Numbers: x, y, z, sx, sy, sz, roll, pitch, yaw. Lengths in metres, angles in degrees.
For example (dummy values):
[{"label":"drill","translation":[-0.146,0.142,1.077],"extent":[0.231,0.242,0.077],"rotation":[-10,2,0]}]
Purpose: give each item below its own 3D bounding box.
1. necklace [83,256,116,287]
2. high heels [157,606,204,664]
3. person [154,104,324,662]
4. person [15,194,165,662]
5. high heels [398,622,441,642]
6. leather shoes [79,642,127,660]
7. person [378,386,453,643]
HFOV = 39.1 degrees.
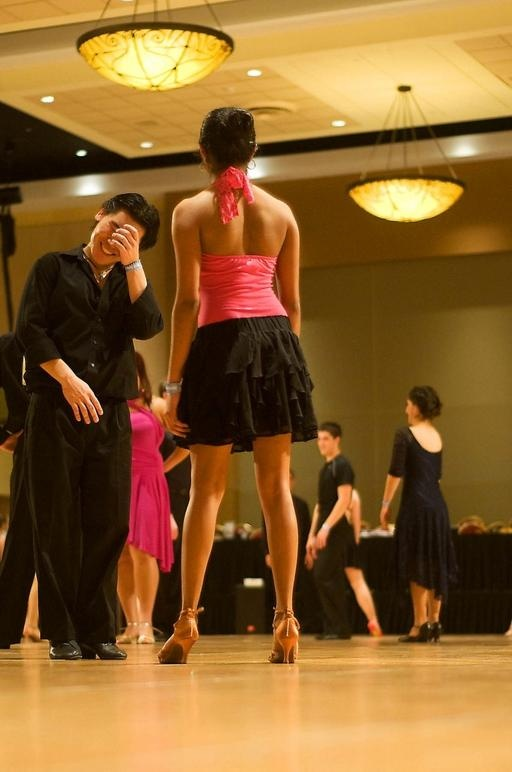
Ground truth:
[{"label":"necklace","translation":[-0.594,-0.418,2.692],"extent":[0.083,0.114,0.059],"rotation":[1,-6,-3]},{"label":"high heels","translation":[-0.239,0.774,2.224],"extent":[0.090,0.131,0.261],"rotation":[1,-25,-17]},{"label":"person","translation":[-0.046,-0.016,2.403],"extent":[0.492,1.934,0.544],"rotation":[1,2,4]},{"label":"person","translation":[-0.585,0.205,2.589],"extent":[0.398,1.474,0.465],"rotation":[2,2,40]},{"label":"high heels","translation":[1.284,1.900,5.576],"extent":[0.145,0.112,0.255],"rotation":[8,-11,-39]},{"label":"leather shoes","translation":[-0.535,0.922,2.537],"extent":[0.162,0.064,0.064],"rotation":[-3,-13,12]},{"label":"person","translation":[1.311,1.015,5.804],"extent":[0.599,2.017,0.697],"rotation":[0,2,-12]}]
